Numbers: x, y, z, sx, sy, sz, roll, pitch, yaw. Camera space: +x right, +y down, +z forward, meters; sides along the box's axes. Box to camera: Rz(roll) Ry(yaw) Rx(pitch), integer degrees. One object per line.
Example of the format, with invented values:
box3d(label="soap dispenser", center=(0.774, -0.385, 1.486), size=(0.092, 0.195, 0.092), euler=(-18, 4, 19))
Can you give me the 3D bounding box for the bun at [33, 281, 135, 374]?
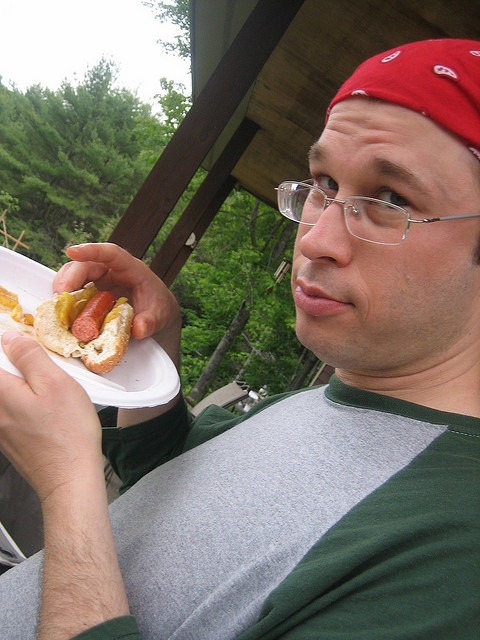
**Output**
box3d(label="bun", center=(-0.564, 0.010, 2.088), size=(0.391, 0.131, 0.534), euler=(6, 27, -17))
